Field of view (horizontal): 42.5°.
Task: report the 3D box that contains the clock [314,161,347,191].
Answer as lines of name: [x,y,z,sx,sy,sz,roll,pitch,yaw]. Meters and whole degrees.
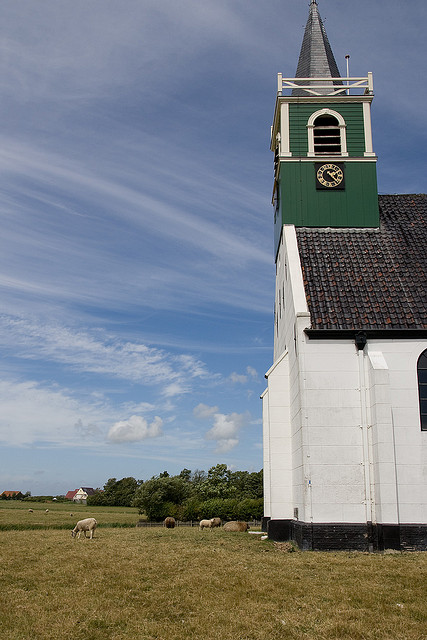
clock: [5.666,-6.933,26.718,1.565,1.509,0.154,1,-15,2]

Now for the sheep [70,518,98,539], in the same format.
sheep: [-5.958,9.619,25.517,0.906,0.829,2.047,4,-16,-16]
